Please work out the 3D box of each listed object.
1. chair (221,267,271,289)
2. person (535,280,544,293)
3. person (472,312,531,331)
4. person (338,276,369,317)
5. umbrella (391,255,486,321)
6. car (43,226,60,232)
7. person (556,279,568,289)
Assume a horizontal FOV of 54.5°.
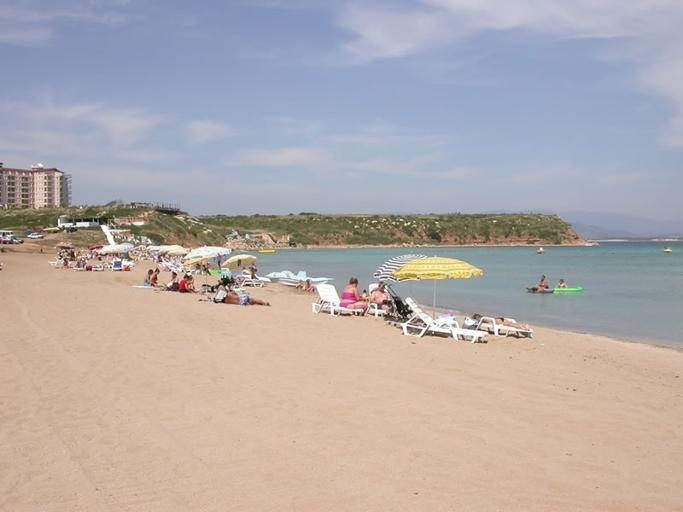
[{"bbox_3d":[-4.215,1.009,29.401,2.005,0.543,1.412,4,1,33],"label":"chair"},{"bbox_3d":[9.967,1.494,33.100,0.497,0.655,0.389,7,7,20],"label":"person"},{"bbox_3d":[4.175,1.722,17.302,1.351,0.261,0.634,-1,2,8],"label":"person"},{"bbox_3d":[0.350,1.206,19.559,1.097,0.892,0.821,4,7,-15],"label":"person"},{"bbox_3d":[2.429,0.724,17.248,2.444,1.154,1.874,0,5,3],"label":"umbrella"},{"bbox_3d":[-32.864,-2.965,75.115,1.668,0.507,4.325,1,4,-23],"label":"car"},{"bbox_3d":[12.409,1.548,37.223,0.802,0.345,1.112,-1,-6,22],"label":"person"}]
